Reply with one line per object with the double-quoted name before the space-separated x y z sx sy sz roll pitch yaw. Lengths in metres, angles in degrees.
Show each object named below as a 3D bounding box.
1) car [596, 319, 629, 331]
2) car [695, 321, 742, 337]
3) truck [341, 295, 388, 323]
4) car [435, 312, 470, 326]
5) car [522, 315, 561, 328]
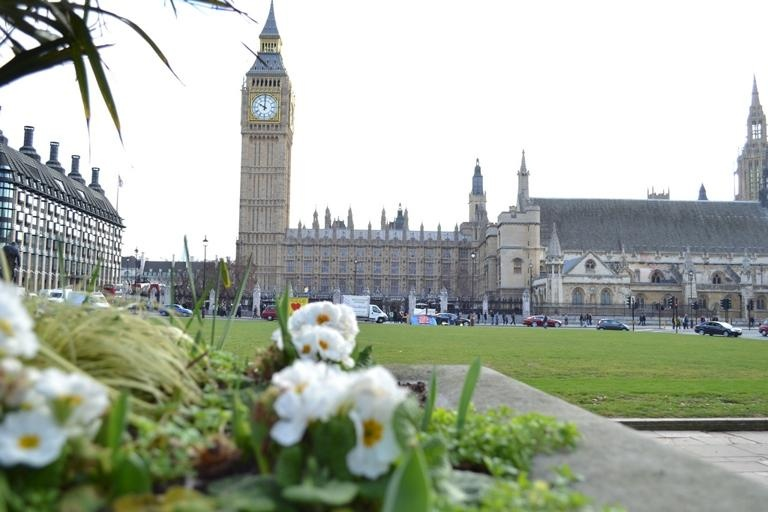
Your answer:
"car" 21.647 6.637 93.353 2.371 0.996 1.423 -3 -3 4
"car" 29.799 6.564 87.415 1.606 1.044 3.270 5 -11 -29
"truck" -1.969 5.219 96.173 5.678 2.788 2.470 0 1 -17
"car" 6.780 6.374 98.618 2.869 0.913 1.315 -1 -1 -9
"car" 15.846 6.675 98.546 3.303 0.945 1.426 0 -1 8
